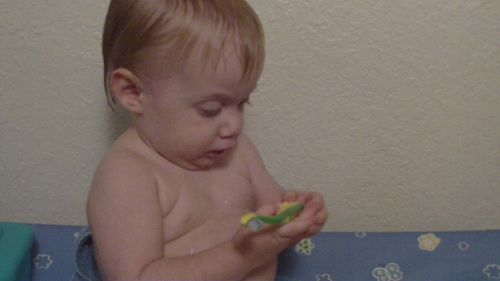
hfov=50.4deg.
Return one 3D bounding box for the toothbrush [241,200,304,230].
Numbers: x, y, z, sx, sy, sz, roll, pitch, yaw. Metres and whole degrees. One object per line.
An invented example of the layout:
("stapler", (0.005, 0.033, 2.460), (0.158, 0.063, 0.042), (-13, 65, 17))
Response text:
("toothbrush", (0.070, 0.214, 1.579), (0.174, 0.076, 0.054), (-8, 84, -26))
